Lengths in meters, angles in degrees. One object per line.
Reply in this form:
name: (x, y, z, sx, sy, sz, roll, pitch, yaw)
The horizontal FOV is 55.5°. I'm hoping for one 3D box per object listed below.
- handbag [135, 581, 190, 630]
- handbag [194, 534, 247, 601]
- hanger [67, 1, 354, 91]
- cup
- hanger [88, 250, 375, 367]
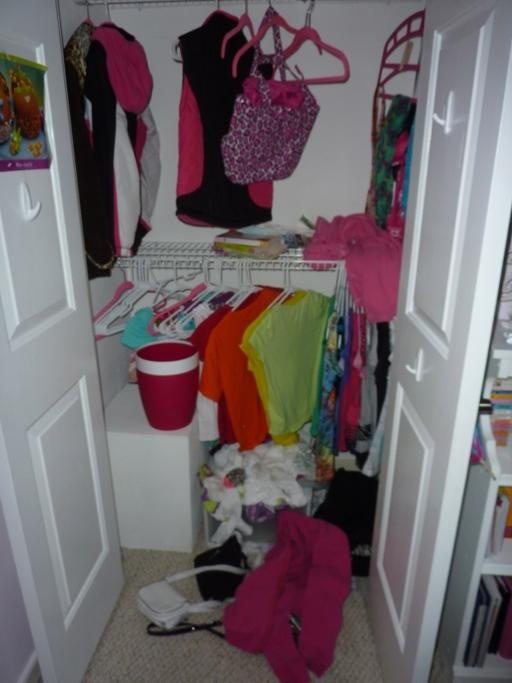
handbag: (-0.295, 0.844, 1.556, 0.119, 0.050, 0.167, -15, 27, -41)
handbag: (-0.110, 0.794, 1.682, 0.192, 0.070, 0.234, -3, 21, -15)
hanger: (-0.087, -1.065, 1.707, 0.768, 0.292, 0.463, 1, 19, -4)
cup: (-0.279, 0.140, 1.789, 0.236, 0.338, 0.265, 1, 21, 1)
hanger: (-0.135, -0.132, 2.028, 0.956, 0.551, 0.651, 0, 19, -8)
